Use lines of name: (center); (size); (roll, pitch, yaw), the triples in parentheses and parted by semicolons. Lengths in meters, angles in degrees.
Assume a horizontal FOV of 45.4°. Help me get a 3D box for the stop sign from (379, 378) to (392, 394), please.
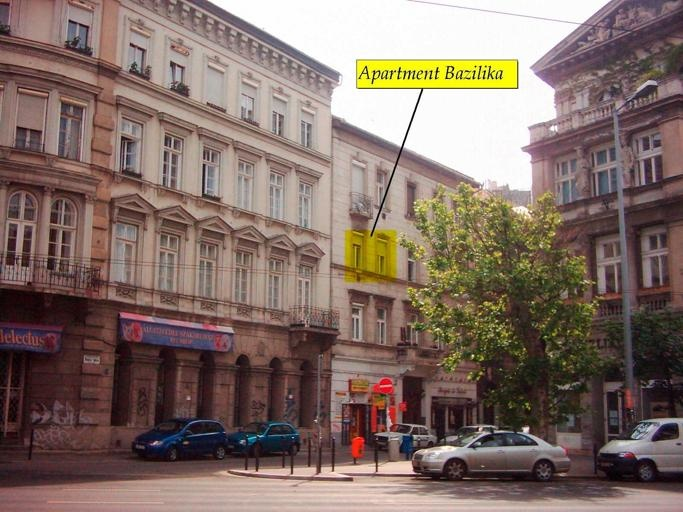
stop sign: (2.207, 6.240, 40.135); (0.590, 0.692, 0.952); (1, -17, -8)
